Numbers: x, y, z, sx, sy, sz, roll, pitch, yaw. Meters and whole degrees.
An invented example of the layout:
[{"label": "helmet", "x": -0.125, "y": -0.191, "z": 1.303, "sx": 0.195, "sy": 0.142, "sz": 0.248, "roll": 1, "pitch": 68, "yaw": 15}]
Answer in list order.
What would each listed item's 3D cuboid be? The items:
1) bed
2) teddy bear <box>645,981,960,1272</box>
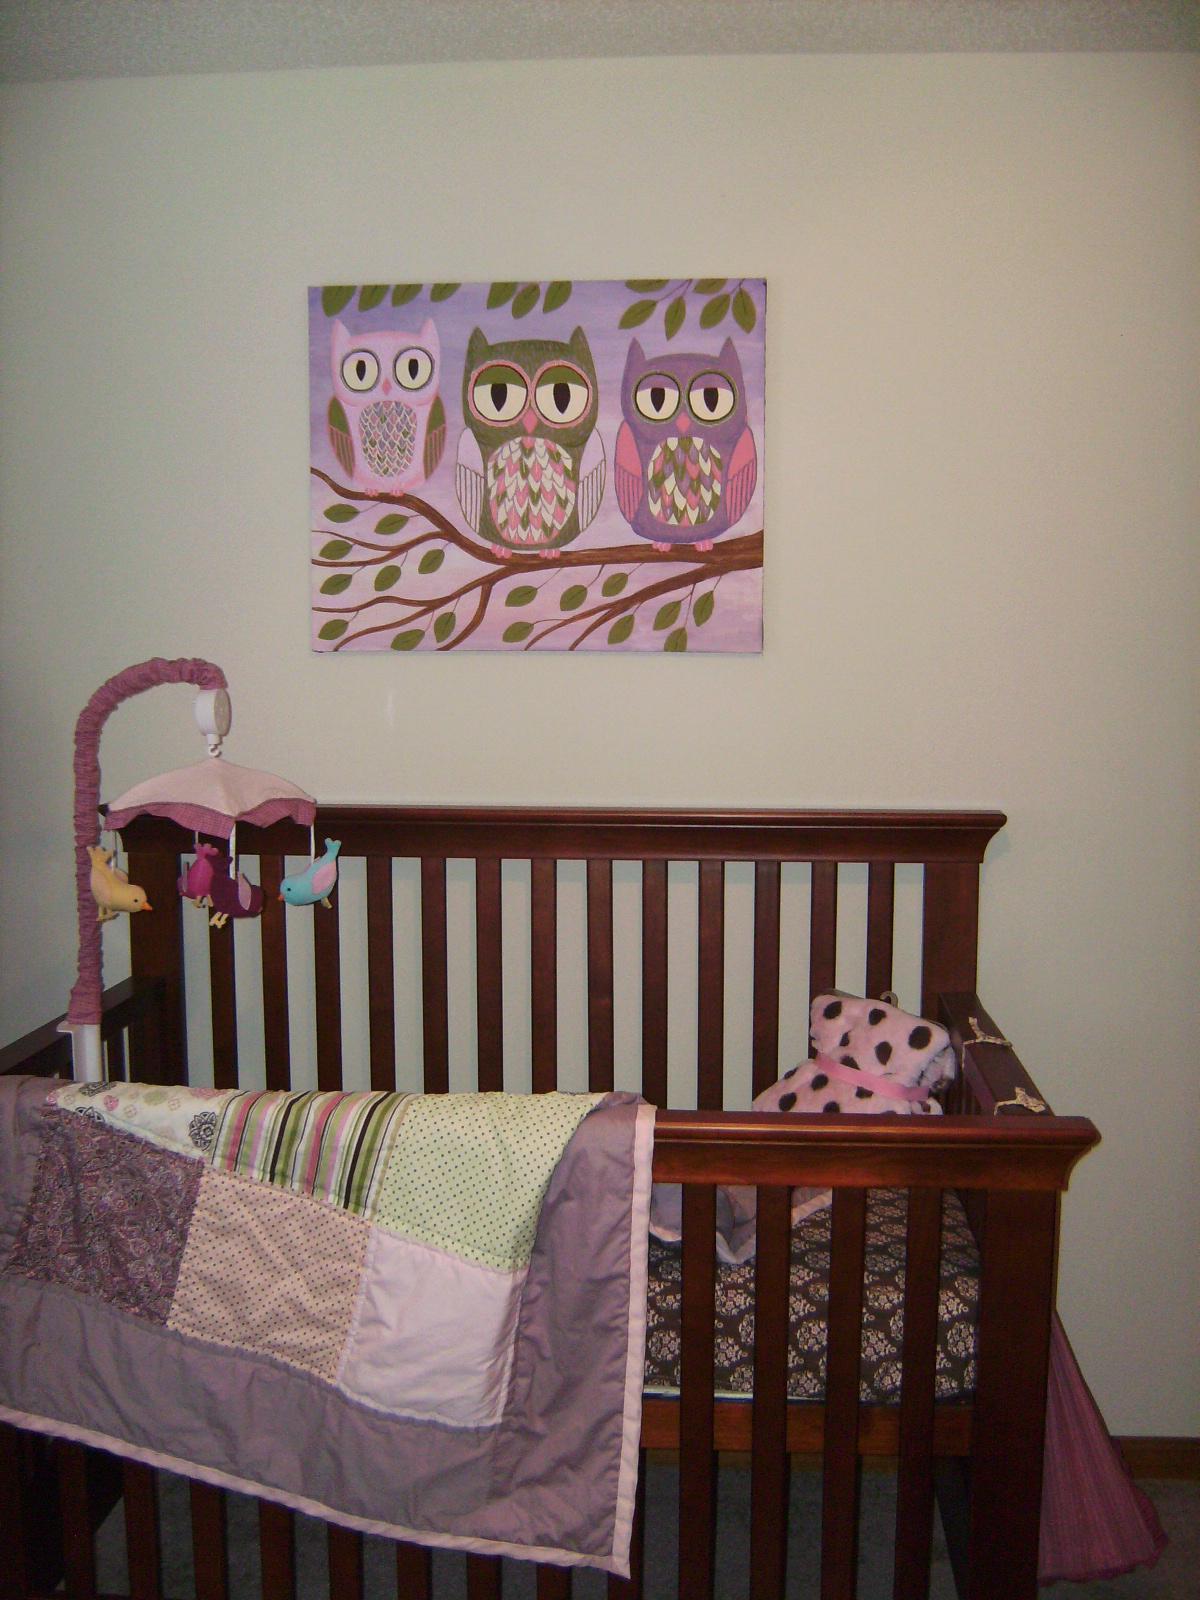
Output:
[{"label": "bed", "x": -0.080, "y": 0.471, "z": 1.832, "sx": 1.207, "sy": 0.973, "sz": 0.820, "roll": 1, "pitch": -3, "yaw": 8}, {"label": "teddy bear", "x": 0.312, "y": 0.413, "z": 1.799, "sx": 0.242, "sy": 0.114, "sz": 0.359, "roll": 21, "pitch": 45, "yaw": -7}]
